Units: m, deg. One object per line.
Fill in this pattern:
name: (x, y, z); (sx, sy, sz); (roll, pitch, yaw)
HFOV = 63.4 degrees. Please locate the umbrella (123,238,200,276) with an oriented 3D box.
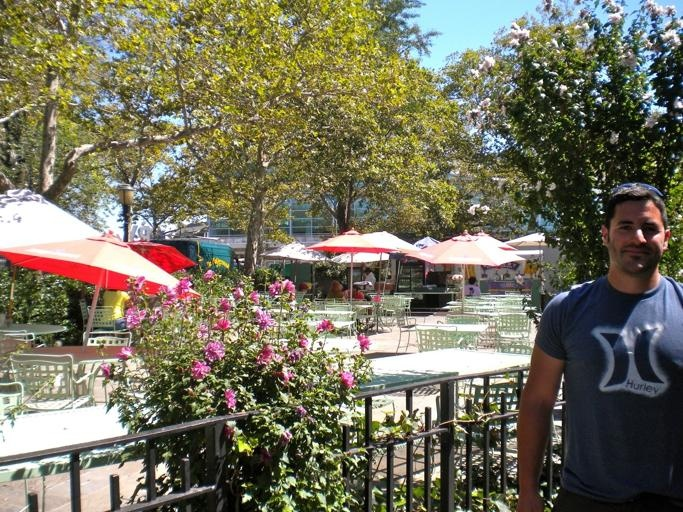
umbrella: (-3.027, 0.000, 9.257); (0.823, 0.312, 0.770); (9, 4, 41)

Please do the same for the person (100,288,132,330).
person: (-5.002, 1.199, 12.491); (0.788, 0.910, 0.552); (-3, 1, -6)
